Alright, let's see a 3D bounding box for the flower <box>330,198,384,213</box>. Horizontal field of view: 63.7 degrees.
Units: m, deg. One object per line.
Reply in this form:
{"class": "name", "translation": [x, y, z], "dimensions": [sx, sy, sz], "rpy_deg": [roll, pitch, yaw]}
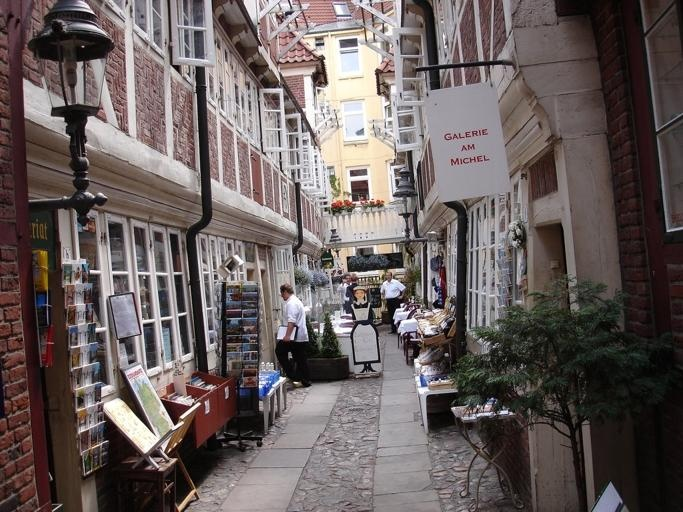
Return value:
{"class": "flower", "translation": [0.621, -2.229, 24.646], "dimensions": [2.265, 0.604, 0.940], "rpy_deg": [-4, -2, 8]}

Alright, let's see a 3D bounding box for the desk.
{"class": "desk", "translation": [1.390, 2.043, 8.196], "dimensions": [0.555, 0.702, 1.894], "rpy_deg": [-3, -2, 7]}

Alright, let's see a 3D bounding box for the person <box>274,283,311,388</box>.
{"class": "person", "translation": [-1.005, 1.630, 11.101], "dimensions": [0.666, 2.117, 0.871], "rpy_deg": [-3, -2, -5]}

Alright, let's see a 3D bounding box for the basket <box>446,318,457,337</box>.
{"class": "basket", "translation": [1.665, 1.115, 8.330], "dimensions": [0.145, 0.193, 0.440], "rpy_deg": [-3, -2, 11]}

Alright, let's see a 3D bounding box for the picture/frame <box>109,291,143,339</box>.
{"class": "picture/frame", "translation": [-2.161, 0.592, 5.474], "dimensions": [0.038, 0.471, 0.445], "rpy_deg": [-13, -4, 9]}

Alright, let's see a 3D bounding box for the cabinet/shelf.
{"class": "cabinet/shelf", "translation": [-1.382, 1.414, 8.010], "dimensions": [0.610, 2.129, 0.489], "rpy_deg": [0, 3, 5]}

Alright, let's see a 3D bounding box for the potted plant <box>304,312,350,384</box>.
{"class": "potted plant", "translation": [-0.249, 2.086, 12.057], "dimensions": [0.632, 1.084, 0.641], "rpy_deg": [-4, -7, 7]}
